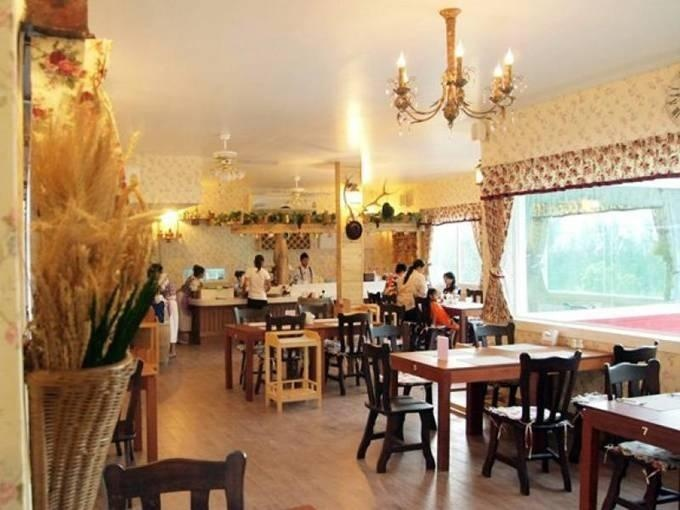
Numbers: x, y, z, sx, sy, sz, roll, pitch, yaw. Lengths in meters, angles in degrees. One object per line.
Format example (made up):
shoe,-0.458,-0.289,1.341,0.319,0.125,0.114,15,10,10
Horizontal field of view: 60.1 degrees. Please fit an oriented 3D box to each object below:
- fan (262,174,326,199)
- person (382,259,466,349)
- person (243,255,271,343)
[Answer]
fan,-1.080,-1.494,13.834,1.387,0.261,2.427,0,1,4
person,1.264,0.631,8.518,1.039,1.667,0.955,0,0,-22
person,-1.472,0.753,10.375,0.456,1.543,0.459,2,10,-4
